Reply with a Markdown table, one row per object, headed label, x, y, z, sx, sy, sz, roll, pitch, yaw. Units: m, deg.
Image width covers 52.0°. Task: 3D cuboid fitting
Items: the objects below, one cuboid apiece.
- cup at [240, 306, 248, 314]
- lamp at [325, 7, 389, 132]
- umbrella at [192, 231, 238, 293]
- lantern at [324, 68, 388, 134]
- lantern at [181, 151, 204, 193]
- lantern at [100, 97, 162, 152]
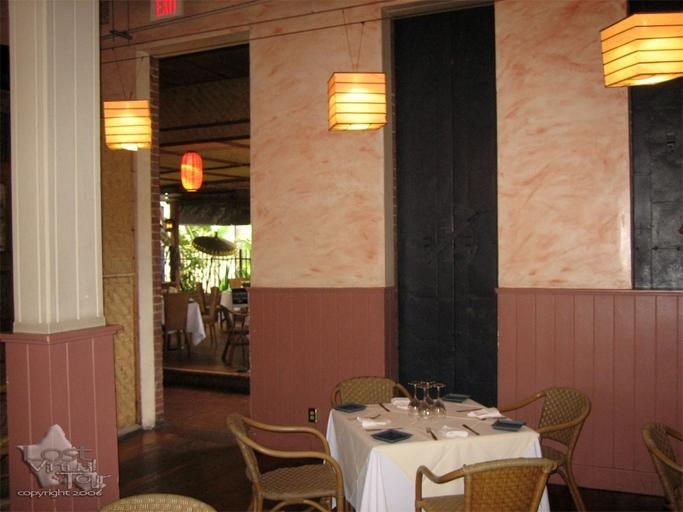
| label | x | y | z | sx | sy | sz | roll | pitch | yaw |
| --- | --- | --- | --- | --- | --- | --- | --- | --- | --- |
| cup | -1.461 | 0.796 | 10.467 | 0.086 | 0.087 | 0.115 | -3 | -8 | 20 |
| lamp | 0.192 | -1.515 | 5.735 | 0.558 | 0.827 | 0.555 | -2 | 11 | -23 |
| umbrella | -2.834 | 0.185 | 15.526 | 0.802 | 1.134 | 0.836 | 16 | 29 | -10 |
| lantern | 0.108 | -1.237 | 5.582 | 0.441 | 0.487 | 0.476 | -2 | 5 | -7 |
| lantern | -2.219 | -1.264 | 10.356 | 0.299 | 0.589 | 0.961 | -2 | 7 | -12 |
| lantern | -1.991 | -1.215 | 6.658 | 0.431 | 0.459 | 0.447 | -1 | -5 | 4 |
